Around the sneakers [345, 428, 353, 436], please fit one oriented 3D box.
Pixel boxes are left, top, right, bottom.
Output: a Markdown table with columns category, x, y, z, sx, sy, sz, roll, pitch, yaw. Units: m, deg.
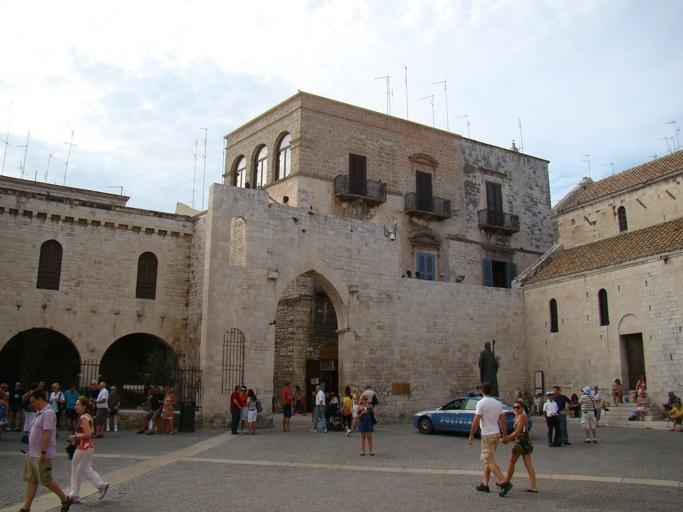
| category | x | y | z | sx | sy | sz | roll | pitch | yaw |
| --- | --- | --- | --- | --- | --- | --- | --- | --- | --- |
| sneakers | 0.218 | 6.249 | 22.490 | 0.135 | 0.317 | 0.109 | 22 | -9 | 17 |

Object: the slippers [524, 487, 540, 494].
| category | x | y | z | sx | sy | sz | roll | pitch | yaw |
| --- | --- | --- | --- | --- | --- | --- | --- | --- | --- |
| slippers | 3.854 | 4.767 | 12.924 | 0.211 | 0.057 | 0.099 | -7 | -13 | 44 |

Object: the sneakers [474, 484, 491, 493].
| category | x | y | z | sx | sy | sz | roll | pitch | yaw |
| --- | --- | --- | --- | --- | --- | --- | --- | --- | --- |
| sneakers | 2.870 | 4.735 | 12.969 | 0.307 | 0.141 | 0.123 | 3 | -1 | 39 |

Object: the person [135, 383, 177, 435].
| category | x | y | z | sx | sy | sz | roll | pitch | yaw |
| --- | --- | --- | --- | --- | --- | --- | --- | --- | --- |
| person | -6.291 | 5.131 | 21.264 | 0.934 | 1.565 | 1.500 | 8 | -15 | -30 |

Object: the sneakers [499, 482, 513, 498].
| category | x | y | z | sx | sy | sz | roll | pitch | yaw |
| --- | --- | --- | --- | --- | --- | --- | --- | --- | --- |
| sneakers | 3.245 | 4.562 | 12.603 | 0.219 | 0.453 | 0.160 | -1 | 27 | 5 |

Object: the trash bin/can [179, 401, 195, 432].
| category | x | y | z | sx | sy | sz | roll | pitch | yaw |
| --- | --- | --- | --- | --- | --- | --- | --- | --- | --- |
| trash bin/can | -5.330 | 5.449 | 21.668 | 0.550 | 1.037 | 0.450 | 0 | -13 | -1 |

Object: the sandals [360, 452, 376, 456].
| category | x | y | z | sx | sy | sz | roll | pitch | yaw |
| --- | --- | --- | --- | --- | --- | --- | --- | --- | --- |
| sandals | 0.689 | 5.327 | 17.055 | 0.403 | 0.159 | 0.135 | 4 | -22 | 3 |

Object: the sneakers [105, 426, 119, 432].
| category | x | y | z | sx | sy | sz | roll | pitch | yaw |
| --- | --- | --- | --- | --- | --- | --- | --- | --- | --- |
| sneakers | -7.814 | 5.872 | 21.503 | 0.513 | 0.215 | 0.171 | -1 | -11 | 2 |

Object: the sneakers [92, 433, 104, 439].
| category | x | y | z | sx | sy | sz | roll | pitch | yaw |
| --- | --- | --- | --- | --- | --- | --- | --- | --- | --- |
| sneakers | -7.533 | 5.535 | 19.550 | 0.363 | 0.154 | 0.125 | -7 | -19 | 36 |

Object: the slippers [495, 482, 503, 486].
| category | x | y | z | sx | sy | sz | roll | pitch | yaw |
| --- | --- | --- | --- | --- | --- | --- | --- | --- | --- |
| slippers | 3.158 | 4.589 | 12.787 | 0.111 | 0.110 | 0.308 | 1 | -25 | 11 |

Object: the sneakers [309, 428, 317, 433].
| category | x | y | z | sx | sy | sz | roll | pitch | yaw |
| --- | --- | --- | --- | --- | --- | --- | --- | --- | --- |
| sneakers | -1.070 | 6.367 | 23.155 | 0.263 | 0.187 | 0.092 | 4 | -31 | 10 |
